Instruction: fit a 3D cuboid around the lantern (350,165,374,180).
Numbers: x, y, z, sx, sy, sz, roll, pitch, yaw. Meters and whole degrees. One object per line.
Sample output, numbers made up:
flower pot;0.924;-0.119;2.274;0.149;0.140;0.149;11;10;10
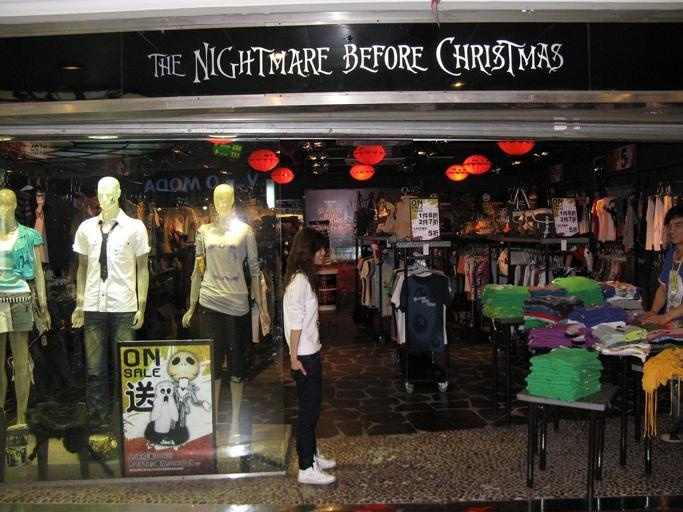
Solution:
lantern;0.412;-1.713;11.529;0.599;0.312;0.538;0;0;2

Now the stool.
stool;1.957;1.427;4.794;0.686;0.824;1.274;1;7;26

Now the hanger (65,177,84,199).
hanger;-2.281;-0.579;4.782;0.151;0.181;0.019;-2;7;-1

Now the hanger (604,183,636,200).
hanger;5.091;-1.186;10.268;0.368;0.266;0.851;0;7;16

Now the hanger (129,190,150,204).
hanger;-1.730;-0.503;4.850;0.173;0.094;0.036;3;6;-2

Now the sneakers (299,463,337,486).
sneakers;-0.212;1.808;4.663;0.365;0.163;0.131;0;1;-1

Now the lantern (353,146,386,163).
lantern;0.454;-1.764;9.703;0.495;0.318;0.549;-2;7;0

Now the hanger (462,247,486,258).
hanger;2.510;-0.096;10.449;0.395;0.162;0.508;0;7;14

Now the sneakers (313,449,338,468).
sneakers;-0.158;1.774;4.920;0.316;0.109;0.096;0;-1;-12

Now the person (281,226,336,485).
person;-0.270;0.824;4.631;0.379;2.108;0.354;-3;7;-6

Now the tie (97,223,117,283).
tie;-1.995;-0.045;4.805;0.169;0.495;0.055;-2;7;0

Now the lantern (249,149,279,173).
lantern;-0.642;-0.811;4.789;0.289;0.200;0.108;1;8;21
